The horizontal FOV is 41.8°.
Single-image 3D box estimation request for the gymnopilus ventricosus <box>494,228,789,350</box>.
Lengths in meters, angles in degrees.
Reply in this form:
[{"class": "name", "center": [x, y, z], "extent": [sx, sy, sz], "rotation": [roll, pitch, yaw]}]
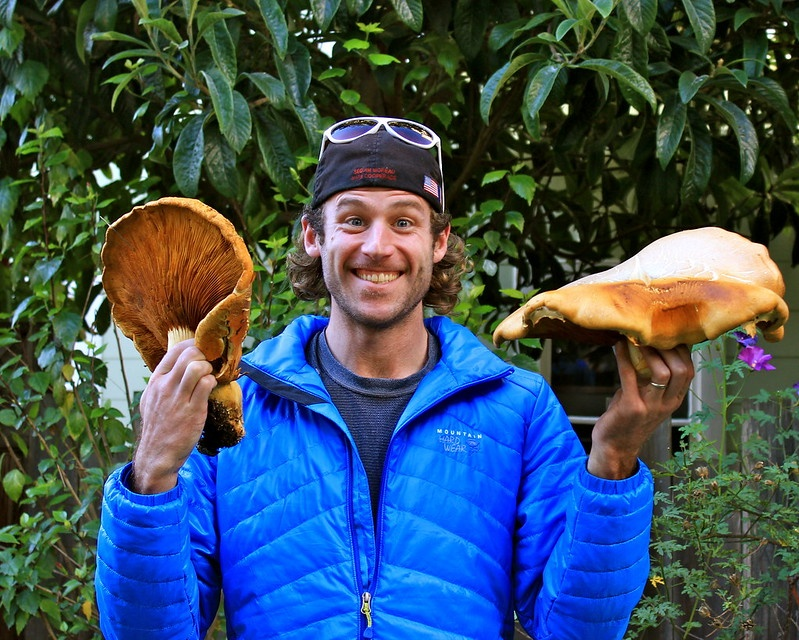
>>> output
[{"class": "gymnopilus ventricosus", "center": [0.857, -0.074, 3.267], "extent": [0.563, 0.227, 0.532], "rotation": [-5, -8, 13]}]
